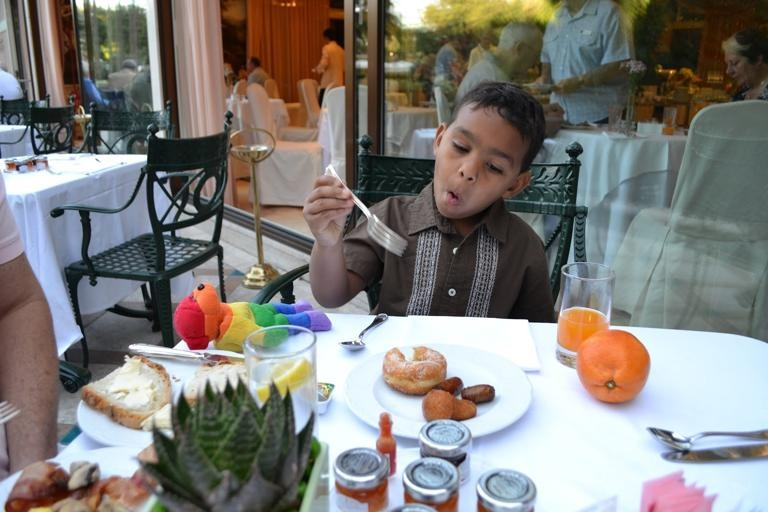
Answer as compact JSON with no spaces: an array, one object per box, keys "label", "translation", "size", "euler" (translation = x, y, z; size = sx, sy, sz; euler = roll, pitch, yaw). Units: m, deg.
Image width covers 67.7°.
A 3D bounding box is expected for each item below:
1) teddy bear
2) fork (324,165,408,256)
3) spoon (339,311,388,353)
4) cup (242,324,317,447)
[{"label":"teddy bear","translation":[-0.340,0.189,1.506],"size":[0.345,0.170,0.186],"euler":[2,-17,-22]},{"label":"fork","translation":[-0.047,-0.145,1.904],"size":[0.434,0.069,0.053],"euler":[52,20,17]},{"label":"spoon","translation":[-0.056,0.197,1.489],"size":[0.046,0.035,0.201],"euler":[2,28,22]},{"label":"cup","translation":[-0.182,0.231,1.004],"size":[0.138,0.234,0.139],"euler":[-1,24,0]}]
